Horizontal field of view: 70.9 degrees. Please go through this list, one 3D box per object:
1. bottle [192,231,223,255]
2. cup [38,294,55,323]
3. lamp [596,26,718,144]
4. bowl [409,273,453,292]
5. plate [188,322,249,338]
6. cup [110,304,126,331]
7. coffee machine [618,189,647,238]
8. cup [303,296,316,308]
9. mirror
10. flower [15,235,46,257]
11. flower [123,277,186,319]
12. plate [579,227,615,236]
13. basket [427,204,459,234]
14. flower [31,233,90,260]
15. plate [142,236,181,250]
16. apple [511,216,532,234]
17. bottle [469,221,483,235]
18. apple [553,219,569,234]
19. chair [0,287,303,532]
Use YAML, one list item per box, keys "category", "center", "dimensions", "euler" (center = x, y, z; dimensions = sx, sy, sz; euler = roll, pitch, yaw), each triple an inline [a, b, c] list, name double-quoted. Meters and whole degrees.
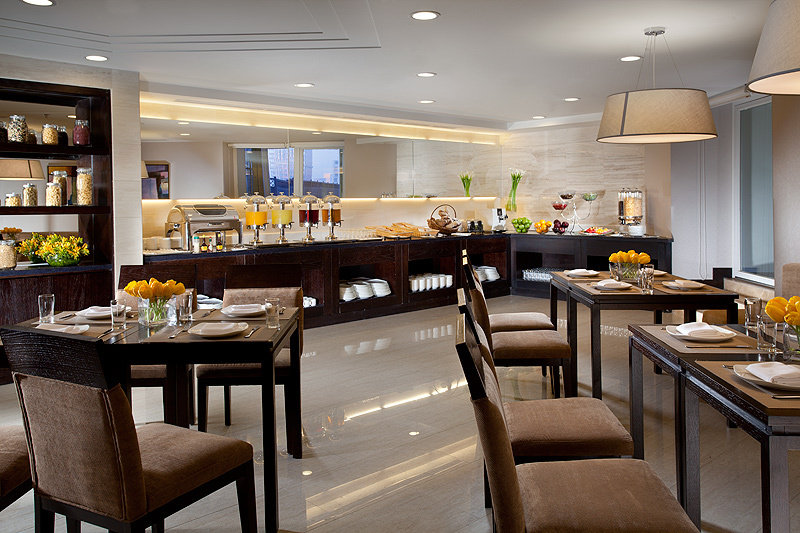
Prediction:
- category: "bottle"
  center: [-2.212, -0.283, 6.473]
  dimensions: [0.259, 0.219, 0.399]
  euler: [0, 12, 4]
- category: "cup"
  center: [-2.267, 0.271, 3.617]
  dimensions: [0.085, 0.184, 0.212]
  euler: [-10, 15, -35]
- category: "lamp"
  center: [1.927, -1.369, 4.248]
  dimensions: [0.811, 0.814, 0.804]
  euler: [3, 9, 31]
- category: "bowl"
  center: [0.428, 0.246, 8.282]
  dimensions: [0.436, 0.132, 0.307]
  euler: [-5, 5, -24]
- category: "plate"
  center: [-1.063, 0.362, 3.288]
  dimensions: [0.346, 0.048, 0.315]
  euler: [-1, 11, 1]
- category: "cup"
  center: [-1.700, 0.303, 3.409]
  dimensions: [0.080, 0.141, 0.199]
  euler: [-7, 13, -27]
- category: "coffee machine"
  center: [3.496, -0.810, 8.452]
  dimensions: [0.390, 0.664, 0.426]
  euler: [0, 12, 6]
- category: "cup"
  center: [-1.132, 0.438, 7.139]
  dimensions: [0.163, 0.131, 0.235]
  euler: [-2, 12, -6]
- category: "mirror"
  center: [-0.751, -1.584, 8.232]
  dimensions: [5.648, 1.428, 0.586]
  euler: [-8, 14, -33]
- category: "flower"
  center: [-3.470, -0.191, 5.301]
  dimensions: [0.202, 0.135, 0.195]
  euler: [1, -1, -31]
- category: "flower"
  center: [-1.575, 0.201, 3.573]
  dimensions: [0.297, 0.208, 0.279]
  euler: [-1, -2, 10]
- category: "plate"
  center: [3.132, -0.555, 8.871]
  dimensions: [0.451, 0.077, 0.705]
  euler: [5, 13, 27]
- category: "basket"
  center: [0.693, -0.781, 8.995]
  dimensions: [0.566, 0.462, 0.552]
  euler: [1, -2, 0]
- category: "flower"
  center: [-3.214, -0.178, 5.432]
  dimensions: [0.289, 0.158, 0.297]
  euler: [5, 2, 18]
- category: "plate"
  center: [-2.767, -0.272, 6.567]
  dimensions: [0.396, 0.125, 0.138]
  euler: [-4, 12, -15]
- category: "apple"
  center: [2.088, -0.704, 9.517]
  dimensions: [0.299, 0.192, 0.311]
  euler: [7, 11, 38]
- category: "bottle"
  center: [1.276, -0.647, 9.434]
  dimensions: [0.206, 0.262, 0.258]
  euler: [0, -1, -15]
- category: "apple"
  center: [2.611, -0.636, 9.203]
  dimensions: [0.212, 0.157, 0.267]
  euler: [1, 2, 33]
- category: "chair"
  center: [-1.190, 0.768, 3.646]
  dimensions: [1.151, 1.145, 1.495]
  euler: [-3, 12, -10]
